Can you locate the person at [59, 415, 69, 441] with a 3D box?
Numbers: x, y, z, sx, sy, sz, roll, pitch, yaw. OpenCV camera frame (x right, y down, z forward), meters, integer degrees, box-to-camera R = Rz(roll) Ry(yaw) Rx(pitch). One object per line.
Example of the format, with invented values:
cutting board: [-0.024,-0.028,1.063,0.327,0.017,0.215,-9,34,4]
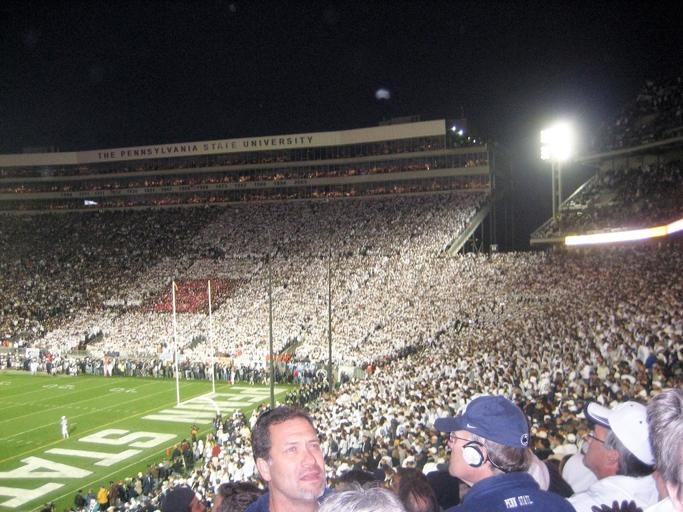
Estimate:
person: [-14.533,9.013,42.231,0.371,1.301,2.353,-1,-21,-18]
